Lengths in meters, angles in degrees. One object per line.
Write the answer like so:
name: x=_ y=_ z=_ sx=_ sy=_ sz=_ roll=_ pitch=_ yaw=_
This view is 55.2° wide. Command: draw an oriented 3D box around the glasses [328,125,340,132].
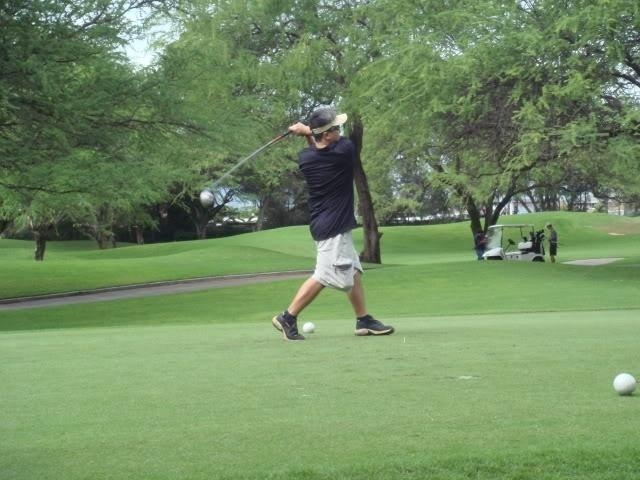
glasses: x=0.143 y=-1.271 z=6.988 sx=0.100 sy=0.027 sz=0.073 roll=-27 pitch=-4 yaw=30

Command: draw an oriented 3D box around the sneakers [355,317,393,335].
sneakers: x=0.621 y=1.009 z=7.187 sx=0.465 sy=0.221 sz=0.192 roll=1 pitch=-1 yaw=-4

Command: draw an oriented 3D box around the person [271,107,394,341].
person: x=0.085 y=-0.213 z=7.080 sx=1.251 sy=2.688 sz=0.498 roll=-2 pitch=-1 yaw=-5

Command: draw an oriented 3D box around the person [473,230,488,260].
person: x=7.873 y=0.279 z=29.899 sx=0.566 sy=1.295 sz=2.753 roll=-2 pitch=-2 yaw=14

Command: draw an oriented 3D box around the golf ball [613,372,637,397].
golf ball: x=2.050 y=0.978 z=4.123 sx=0.134 sy=0.112 sz=0.169 roll=-3 pitch=-2 yaw=24

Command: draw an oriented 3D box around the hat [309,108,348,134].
hat: x=0.088 y=-1.395 z=7.233 sx=0.398 sy=0.399 sz=0.691 roll=-2 pitch=-2 yaw=0

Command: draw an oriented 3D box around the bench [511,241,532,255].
bench: x=9.408 y=0.387 z=28.265 sx=0.659 sy=0.383 sz=0.790 roll=-1 pitch=-2 yaw=-14

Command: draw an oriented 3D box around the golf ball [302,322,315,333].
golf ball: x=-0.148 y=1.117 z=7.712 sx=0.118 sy=0.117 sz=0.120 roll=1 pitch=-28 yaw=0
